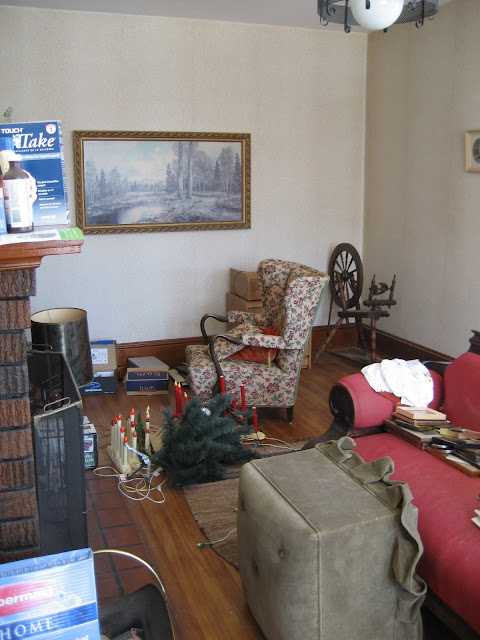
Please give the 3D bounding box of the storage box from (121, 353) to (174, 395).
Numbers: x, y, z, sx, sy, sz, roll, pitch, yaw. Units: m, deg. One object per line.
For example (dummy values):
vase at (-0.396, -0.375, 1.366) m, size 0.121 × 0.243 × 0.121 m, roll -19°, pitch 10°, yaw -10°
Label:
storage box at (-0.867, 0.498, 4.762) m, size 0.307 × 0.189 × 0.417 m, roll 0°, pitch 7°, yaw -12°

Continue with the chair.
chair at (0.085, 0.091, 4.595) m, size 1.245 × 1.416 × 1.265 m, roll 1°, pitch 9°, yaw -9°

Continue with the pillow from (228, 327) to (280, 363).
pillow at (0.113, 0.175, 4.110) m, size 0.294 × 0.107 × 0.293 m, roll 1°, pitch 17°, yaw 12°

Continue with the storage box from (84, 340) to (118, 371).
storage box at (-1.214, 0.313, 4.647) m, size 0.298 × 0.290 × 0.291 m, roll 1°, pitch 8°, yaw -1°

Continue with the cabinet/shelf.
cabinet/shelf at (0.366, -0.032, 4.580) m, size 0.586 × 0.773 × 0.936 m, roll 8°, pitch -15°, yaw 18°
